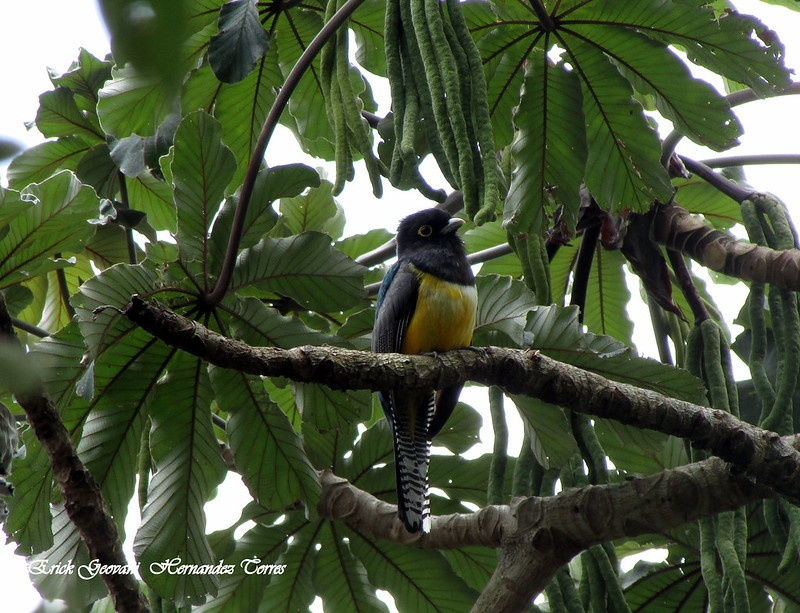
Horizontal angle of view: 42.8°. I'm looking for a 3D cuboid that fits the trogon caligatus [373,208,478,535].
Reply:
[{"bbox_3d":[0.122,0.116,5.922,0.561,2.191,0.978,6,-52,-2],"label":"trogon caligatus"}]
